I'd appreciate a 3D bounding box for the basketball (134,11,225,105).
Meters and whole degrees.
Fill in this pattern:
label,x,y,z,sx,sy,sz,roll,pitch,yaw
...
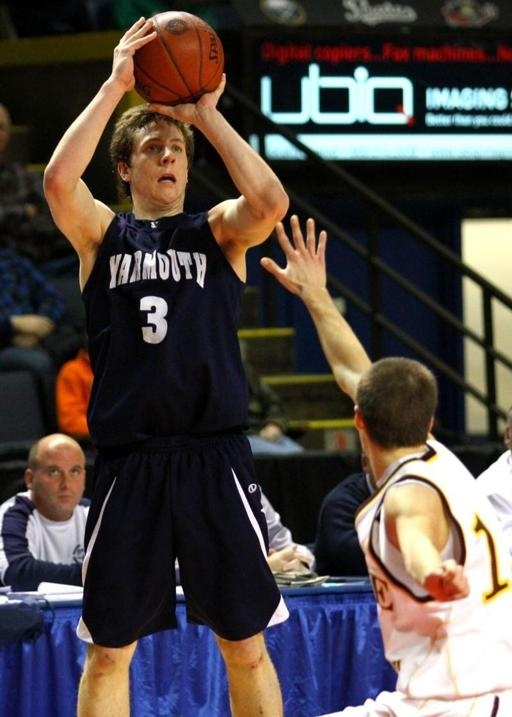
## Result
label,x,y,z,sx,sy,sz,roll,pitch,yaw
basketball,-0.145,-0.684,2.399,0.200,0.227,0.208,-8,8,1
